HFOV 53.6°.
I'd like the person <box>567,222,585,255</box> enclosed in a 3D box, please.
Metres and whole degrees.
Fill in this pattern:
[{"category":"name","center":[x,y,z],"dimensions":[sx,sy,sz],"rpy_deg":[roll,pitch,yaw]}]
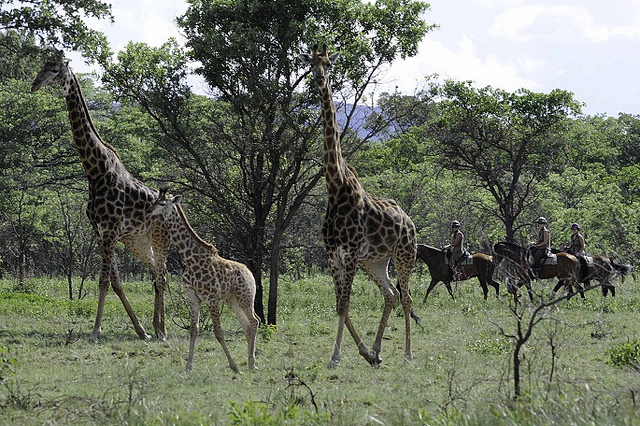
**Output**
[{"category":"person","center":[10.598,1.065,26.222],"dimensions":[0.585,1.307,1.347],"rpy_deg":[-3,-6,19]}]

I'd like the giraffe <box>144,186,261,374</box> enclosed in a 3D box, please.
[{"category":"giraffe","center":[-2.921,1.583,16.120],"dimensions":[2.756,4.712,1.530],"rpy_deg":[-3,-6,17]}]

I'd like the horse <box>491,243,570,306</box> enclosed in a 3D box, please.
[{"category":"horse","center":[8.596,2.404,25.169],"dimensions":[3.845,2.536,0.885],"rpy_deg":[1,-5,-12]}]
